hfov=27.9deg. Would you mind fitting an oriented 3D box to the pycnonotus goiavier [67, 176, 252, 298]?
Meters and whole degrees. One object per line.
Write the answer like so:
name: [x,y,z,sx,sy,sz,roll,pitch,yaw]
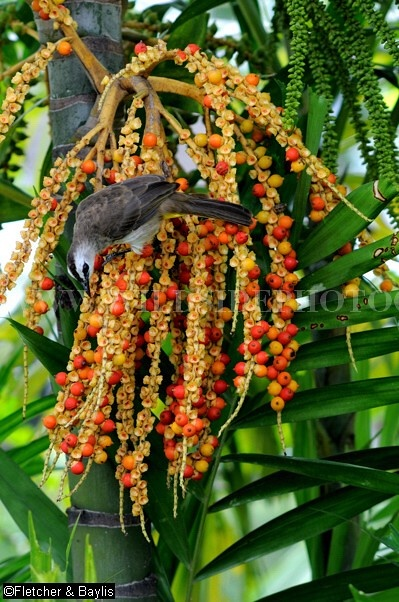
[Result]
pycnonotus goiavier: [-0.082,-0.131,1.269,0.302,0.103,0.143,-31,114,-13]
